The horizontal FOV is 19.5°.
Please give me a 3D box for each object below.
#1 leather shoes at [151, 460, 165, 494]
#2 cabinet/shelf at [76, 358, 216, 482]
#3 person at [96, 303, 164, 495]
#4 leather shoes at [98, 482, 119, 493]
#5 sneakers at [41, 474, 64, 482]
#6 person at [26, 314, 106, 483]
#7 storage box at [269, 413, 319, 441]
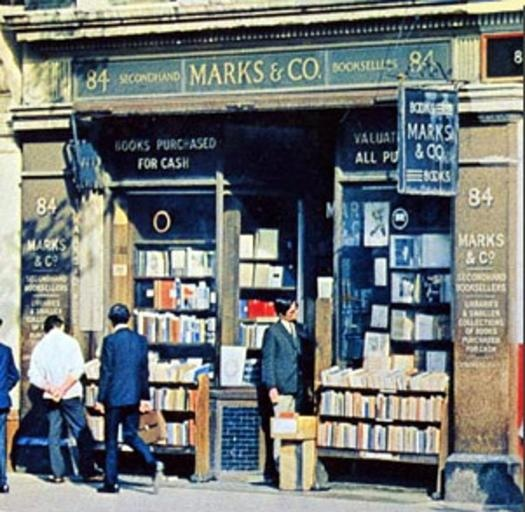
[{"bbox_3d":[-1.026,2.258,15.580,0.099,0.395,0.137,7,-6,-25],"label":"leather shoes"},{"bbox_3d":[-1.232,1.781,16.357,0.980,1.236,0.397,-1,-9,11],"label":"cabinet/shelf"},{"bbox_3d":[-1.363,1.477,15.718,0.637,1.938,0.412,0,-3,-1],"label":"person"},{"bbox_3d":[-1.575,2.404,15.821,0.230,0.121,0.094,2,-3,27],"label":"leather shoes"},{"bbox_3d":[-2.259,2.418,16.612,0.200,0.093,0.572,1,-4,-18],"label":"sneakers"},{"bbox_3d":[-2.148,1.525,16.531,0.628,1.930,0.491,-2,16,-6],"label":"person"},{"bbox_3d":[0.359,1.807,16.065,0.482,0.269,0.185,1,-3,-9],"label":"storage box"}]
